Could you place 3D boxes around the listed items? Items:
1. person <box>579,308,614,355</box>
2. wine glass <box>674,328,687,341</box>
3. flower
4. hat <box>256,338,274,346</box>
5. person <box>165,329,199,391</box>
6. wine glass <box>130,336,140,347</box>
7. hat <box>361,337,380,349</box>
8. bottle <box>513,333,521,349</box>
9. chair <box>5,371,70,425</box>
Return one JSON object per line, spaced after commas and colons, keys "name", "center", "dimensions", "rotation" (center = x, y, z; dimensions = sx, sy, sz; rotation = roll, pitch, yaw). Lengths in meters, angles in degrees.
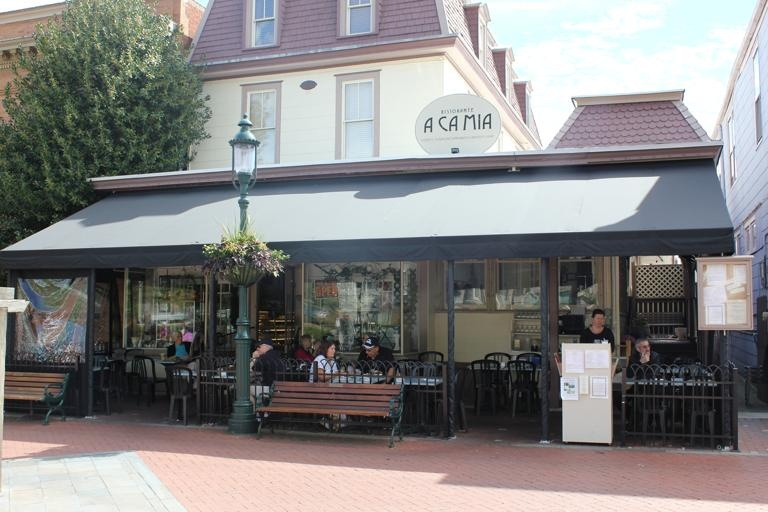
{"name": "person", "center": [4.456, 1.482, 16.961], "dimensions": [0.611, 0.677, 1.074], "rotation": [2, 4, 28]}
{"name": "wine glass", "center": [7.260, 1.919, 19.686], "dimensions": [0.339, 0.458, 0.253], "rotation": [-2, -13, 20]}
{"name": "flower", "center": [-2.855, -0.037, 16.600], "dimensions": [1.309, 0.871, 1.226], "rotation": [2, -1, -1]}
{"name": "hat", "center": [-2.691, 1.939, 18.243], "dimensions": [0.411, 0.189, 0.543], "rotation": [3, -9, -7]}
{"name": "person", "center": [-5.264, 2.666, 21.035], "dimensions": [0.875, 1.341, 0.740], "rotation": [-8, 5, -33]}
{"name": "wine glass", "center": [-6.792, 2.356, 22.104], "dimensions": [0.326, 0.318, 0.269], "rotation": [0, -14, -2]}
{"name": "hat", "center": [-0.205, 1.866, 17.259], "dimensions": [0.254, 0.203, 0.359], "rotation": [0, -14, 37]}
{"name": "bottle", "center": [3.361, 2.159, 20.308], "dimensions": [0.190, 0.359, 0.258], "rotation": [0, 3, 8]}
{"name": "chair", "center": [-7.681, 3.137, 17.923], "dimensions": [1.121, 0.603, 0.450], "rotation": [-3, -17, 15]}
